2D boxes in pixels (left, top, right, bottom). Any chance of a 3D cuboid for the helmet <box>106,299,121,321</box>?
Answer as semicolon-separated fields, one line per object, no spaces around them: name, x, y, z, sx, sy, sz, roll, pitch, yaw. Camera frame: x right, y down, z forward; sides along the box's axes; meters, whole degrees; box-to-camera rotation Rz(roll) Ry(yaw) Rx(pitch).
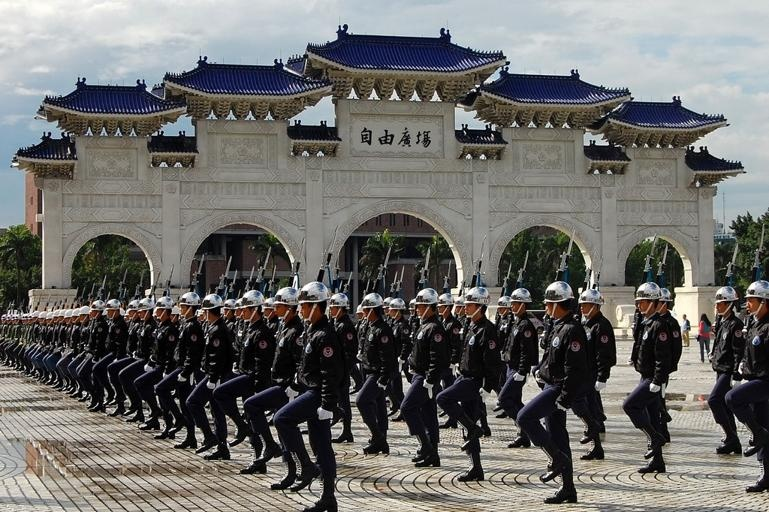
helmet;-7.820;1.493;41.057;0.600;0.563;0.453;8;-7;-11

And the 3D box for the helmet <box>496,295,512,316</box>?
helmet;3.400;1.302;39.490;0.476;0.488;0.562;2;6;-10

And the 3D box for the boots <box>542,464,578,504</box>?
boots;4.116;5.178;32.860;0.805;0.839;0.292;2;-2;-6

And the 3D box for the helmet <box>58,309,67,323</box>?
helmet;-10.768;1.950;47.526;0.335;0.346;0.383;-3;33;11

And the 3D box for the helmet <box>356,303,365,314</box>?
helmet;-0.697;1.420;40.865;0.371;0.247;0.512;-1;-9;0

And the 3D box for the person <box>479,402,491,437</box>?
person;2.676;4.273;37.734;0.378;0.936;0.693;-3;-5;-2

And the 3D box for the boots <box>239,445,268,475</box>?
boots;-3.171;4.971;34.474;0.895;0.618;0.353;5;-16;-7

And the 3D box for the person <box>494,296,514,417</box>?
person;3.204;2.649;37.786;0.537;3.429;1.345;0;3;3

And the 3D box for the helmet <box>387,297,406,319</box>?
helmet;0.287;1.427;39.798;0.583;0.488;0.466;3;2;11

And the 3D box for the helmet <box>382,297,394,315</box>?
helmet;0.225;1.387;41.785;0.447;0.451;0.494;-1;10;-6
